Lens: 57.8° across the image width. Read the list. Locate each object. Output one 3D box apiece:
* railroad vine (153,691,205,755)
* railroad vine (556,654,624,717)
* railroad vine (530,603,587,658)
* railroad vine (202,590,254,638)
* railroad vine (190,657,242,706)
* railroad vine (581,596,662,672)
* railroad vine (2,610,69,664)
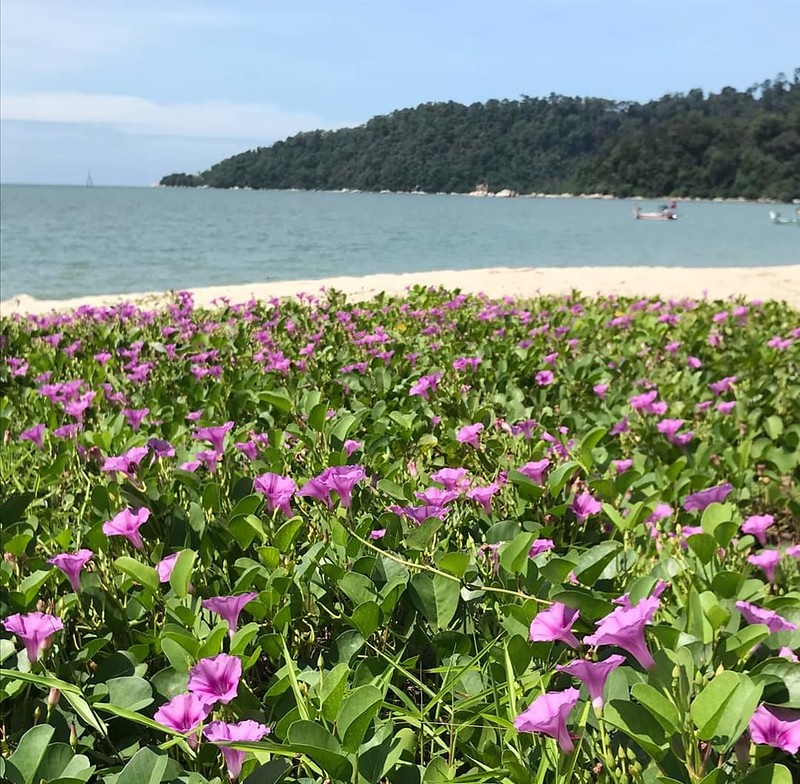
[{"bbox_3d":[-0.476,0.724,1.571,0.072,0.096,0.109,11,59,-1],"label":"railroad vine"},{"bbox_3d":[0.419,0.622,1.533,0.109,0.110,0.131,-7,-12,-24],"label":"railroad vine"},{"bbox_3d":[0.373,0.581,1.720,0.107,0.078,0.122,-24,39,25],"label":"railroad vine"},{"bbox_3d":[-0.430,0.526,1.811,0.098,0.097,0.127,-5,-9,6],"label":"railroad vine"},{"bbox_3d":[-0.403,0.627,1.589,0.084,0.058,0.118,-12,50,2],"label":"railroad vine"},{"bbox_3d":[0.503,0.543,1.557,0.140,0.122,0.160,-36,-11,19],"label":"railroad vine"},{"bbox_3d":[-0.919,0.591,1.827,0.129,0.121,0.141,1,12,34],"label":"railroad vine"}]
